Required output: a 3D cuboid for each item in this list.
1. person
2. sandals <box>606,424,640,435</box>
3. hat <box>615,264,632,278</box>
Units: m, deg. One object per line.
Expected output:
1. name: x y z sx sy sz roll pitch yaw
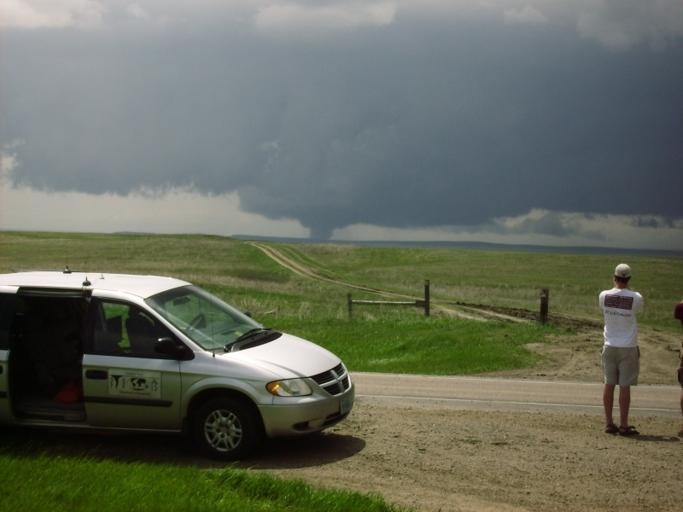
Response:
1. person: 5.047 1.701 16.610 0.713 3.094 0.425 1 1 16
2. sandals: 5.054 3.177 16.551 0.447 0.141 0.241 0 0 -3
3. hat: 5.145 0.289 16.724 0.228 0.175 0.333 2 9 16
